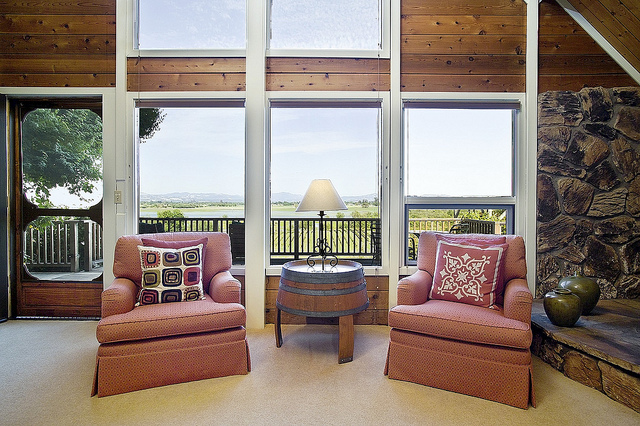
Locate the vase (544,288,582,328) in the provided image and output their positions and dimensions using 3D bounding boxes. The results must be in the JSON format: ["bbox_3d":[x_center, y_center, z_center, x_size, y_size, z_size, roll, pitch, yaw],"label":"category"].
[{"bbox_3d":[2.512,0.984,5.020,0.373,0.372,0.423,-1,-5,8],"label":"vase"}]

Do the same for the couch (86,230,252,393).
[{"bbox_3d":[-1.434,0.973,5.257,1.808,1.700,1.424,1,-12,-18],"label":"couch"}]

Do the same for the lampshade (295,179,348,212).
[{"bbox_3d":[0.017,-0.151,5.237,0.589,0.426,0.565,-3,3,-10],"label":"lampshade"}]

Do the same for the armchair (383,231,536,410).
[{"bbox_3d":[1.450,0.932,4.881,1.477,1.374,1.331,6,6,38],"label":"armchair"}]

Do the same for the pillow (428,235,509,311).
[{"bbox_3d":[1.477,0.584,4.933,0.789,0.645,0.418,7,27,24],"label":"pillow"}]

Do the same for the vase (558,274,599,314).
[{"bbox_3d":[2.783,0.854,5.234,0.405,0.478,0.426,-1,-8,34],"label":"vase"}]

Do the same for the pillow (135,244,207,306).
[{"bbox_3d":[-1.500,0.629,4.832,0.581,0.491,0.209,2,-13,-16],"label":"pillow"}]

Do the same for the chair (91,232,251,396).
[{"bbox_3d":[-1.491,0.920,4.982,1.398,1.309,1.137,-1,5,-18],"label":"chair"}]

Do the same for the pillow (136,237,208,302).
[{"bbox_3d":[-1.527,0.589,4.994,0.736,0.684,0.257,2,1,-29],"label":"pillow"}]
